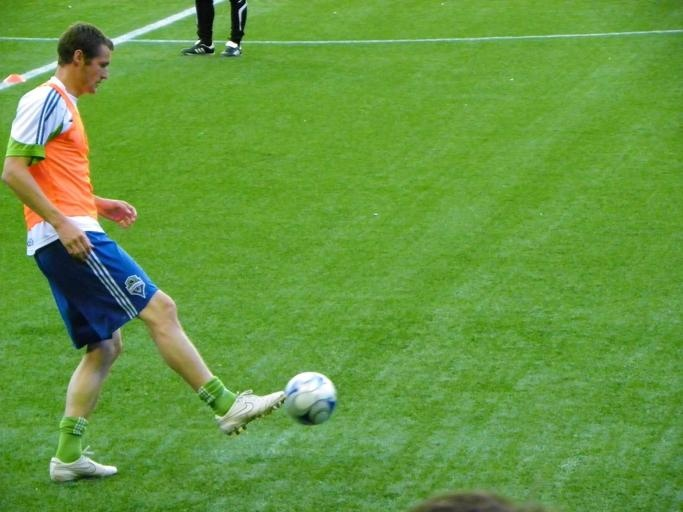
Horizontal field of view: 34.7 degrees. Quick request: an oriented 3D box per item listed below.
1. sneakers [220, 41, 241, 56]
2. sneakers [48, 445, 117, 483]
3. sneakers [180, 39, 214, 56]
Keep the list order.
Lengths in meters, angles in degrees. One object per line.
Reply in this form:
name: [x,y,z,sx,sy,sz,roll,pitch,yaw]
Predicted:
sneakers: [-1.215,-2.270,11.888,0.234,0.127,0.131,5,22,8]
sneakers: [-1.602,1.294,6.711,0.490,0.188,0.147,-1,5,-12]
sneakers: [-1.557,-2.262,11.879,0.419,0.149,0.135,2,14,5]
